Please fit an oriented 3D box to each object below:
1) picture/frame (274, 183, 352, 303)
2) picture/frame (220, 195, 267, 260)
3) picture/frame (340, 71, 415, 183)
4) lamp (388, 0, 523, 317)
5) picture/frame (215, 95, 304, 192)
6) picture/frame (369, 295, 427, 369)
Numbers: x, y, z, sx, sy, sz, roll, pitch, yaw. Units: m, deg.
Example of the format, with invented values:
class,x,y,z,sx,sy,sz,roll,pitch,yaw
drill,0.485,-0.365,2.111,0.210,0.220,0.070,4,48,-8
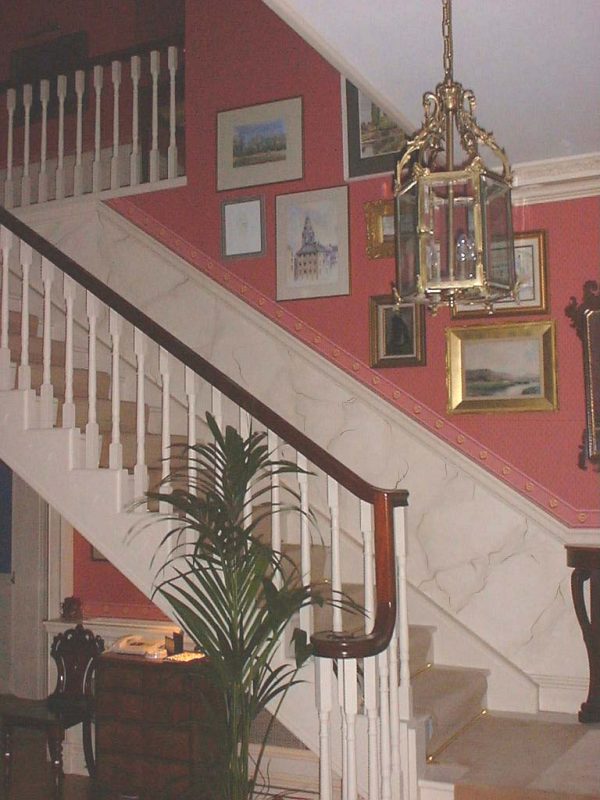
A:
class,x,y,z,sx,sy,sz,roll,pitch,yaw
picture/frame,0.070,-0.781,5.996,0.538,0.794,0.017,-3,-4,31
picture/frame,-0.291,-0.892,6.178,0.311,0.380,0.037,1,2,31
picture/frame,0.372,-1.329,5.841,0.243,0.367,0.027,-8,7,4
lamp,0.429,-0.617,3.455,0.350,0.653,0.273,-2,-12,4
picture/frame,-0.198,-1.321,6.170,0.501,0.466,0.019,-1,-5,26
picture/frame,0.454,-0.310,5.535,0.323,0.439,0.053,0,-1,25
